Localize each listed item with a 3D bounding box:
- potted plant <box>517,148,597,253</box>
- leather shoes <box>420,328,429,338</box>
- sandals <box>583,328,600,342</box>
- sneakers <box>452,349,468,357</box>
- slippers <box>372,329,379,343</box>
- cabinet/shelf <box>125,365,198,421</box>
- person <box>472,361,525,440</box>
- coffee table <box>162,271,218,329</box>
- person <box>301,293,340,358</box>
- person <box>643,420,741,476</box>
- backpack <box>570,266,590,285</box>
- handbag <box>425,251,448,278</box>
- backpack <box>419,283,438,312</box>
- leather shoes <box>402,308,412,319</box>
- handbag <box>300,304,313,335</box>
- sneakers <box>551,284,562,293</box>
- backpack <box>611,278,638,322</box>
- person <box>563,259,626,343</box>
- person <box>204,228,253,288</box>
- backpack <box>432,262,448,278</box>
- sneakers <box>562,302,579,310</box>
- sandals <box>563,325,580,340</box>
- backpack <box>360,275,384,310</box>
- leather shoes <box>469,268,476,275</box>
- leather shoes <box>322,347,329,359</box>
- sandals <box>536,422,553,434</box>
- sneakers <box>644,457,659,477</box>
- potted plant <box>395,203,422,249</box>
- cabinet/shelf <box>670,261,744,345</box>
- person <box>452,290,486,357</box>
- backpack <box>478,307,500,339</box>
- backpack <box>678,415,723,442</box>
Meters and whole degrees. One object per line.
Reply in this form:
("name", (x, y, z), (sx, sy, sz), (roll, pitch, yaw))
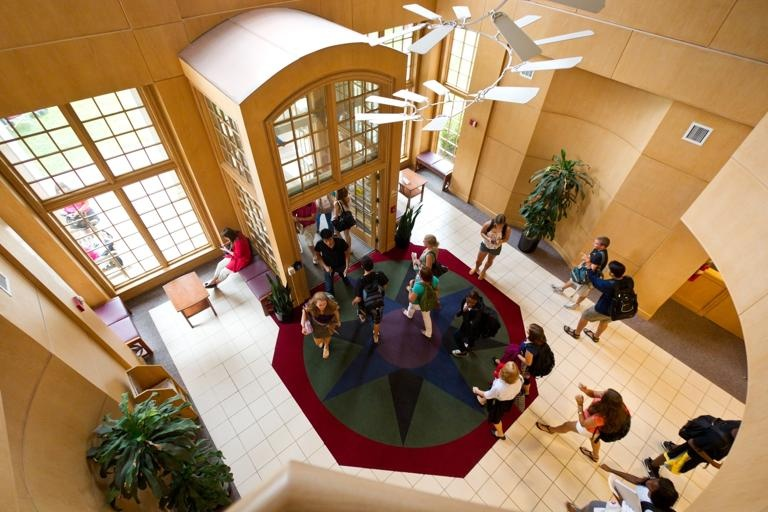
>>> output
("potted plant", (3.846, -1.139, 9.987), (1.347, 2.464, 0.984), (-13, 35, -21))
("leather shoes", (0.845, 1.584, 9.188), (0.089, 0.181, 0.200), (-36, 67, -19))
("sandals", (4.349, 1.668, 9.339), (0.151, 0.131, 0.324), (-38, 65, -20))
("sneakers", (1.531, 1.955, 8.899), (0.285, 0.123, 0.135), (11, 69, 10))
("slippers", (-0.156, 1.656, 9.073), (0.104, 0.108, 0.272), (1, 51, -2))
("cabinet/shelf", (-3.841, 2.365, 7.585), (0.505, 0.959, 0.476), (-28, 53, -22))
("person", (2.013, 2.483, 7.843), (0.676, 1.782, 0.505), (14, 34, 18))
("coffee table", (-4.042, 0.851, 9.395), (0.750, 1.163, 1.238), (-32, 72, -21))
("person", (-1.258, 1.331, 8.535), (0.803, 1.665, 0.479), (-20, 48, -21))
("person", (5.147, 3.233, 7.379), (0.602, 1.317, 0.547), (38, 54, -6))
("backpack", (4.061, 0.412, 9.159), (0.164, 0.292, 0.293), (-22, 66, -15))
("handbag", (1.071, 0.198, 9.145), (0.301, 0.670, 0.364), (17, 60, 39))
("backpack", (0.835, 0.772, 8.457), (0.299, 0.436, 0.250), (-34, 63, -22))
("leather shoes", (0.481, 1.220, 9.466), (0.103, 0.152, 0.228), (-28, 57, -20))
("handbag", (-1.445, 1.201, 8.282), (0.169, 0.609, 0.169), (15, 35, 20))
("sneakers", (3.939, 0.749, 10.090), (0.088, 0.166, 0.243), (-36, 65, -18))
("backpack", (4.578, 0.860, 8.488), (0.515, 0.942, 0.270), (-1, 32, -4))
("person", (4.321, 0.883, 8.865), (0.870, 2.016, 0.529), (25, 39, 32))
("person", (-3.460, 0.054, 9.876), (0.804, 1.125, 0.477), (-14, 61, -26))
("backpack", (1.147, 0.282, 9.033), (0.365, 0.185, 0.237), (-24, 64, -38))
("sneakers", (4.107, 1.110, 9.795), (0.327, 0.141, 0.133), (1, 68, 9))
("sandals", (3.944, 1.598, 9.403), (0.153, 0.137, 0.344), (-39, 67, -22))
("backpack", (-0.225, 0.681, 8.424), (0.413, 0.585, 0.351), (-12, 38, -11))
("leather shoes", (2.032, 0.371, 10.216), (0.172, 0.171, 0.082), (1, 71, 6))
("leather shoes", (-1.173, 1.954, 8.907), (0.131, 0.086, 0.232), (0, 68, 1))
("sandals", (2.982, 3.193, 8.229), (0.267, 0.073, 0.121), (23, 76, 15))
("sneakers", (4.719, 3.738, 7.818), (0.128, 0.161, 0.361), (-10, 55, -3))
("potted plant", (0.601, -0.686, 10.828), (0.464, 1.112, 0.391), (22, 56, 12))
("cabinet/shelf", (6.534, 0.965, 8.944), (0.776, 1.138, 1.084), (-32, 58, -15))
("person", (1.633, 1.328, 8.544), (0.520, 1.607, 0.414), (15, 35, 21))
("backpack", (1.955, 1.276, 8.353), (0.292, 0.579, 0.405), (-26, 58, -11))
("backpack", (5.292, 2.898, 7.404), (0.572, 0.588, 0.319), (-16, 61, -3))
